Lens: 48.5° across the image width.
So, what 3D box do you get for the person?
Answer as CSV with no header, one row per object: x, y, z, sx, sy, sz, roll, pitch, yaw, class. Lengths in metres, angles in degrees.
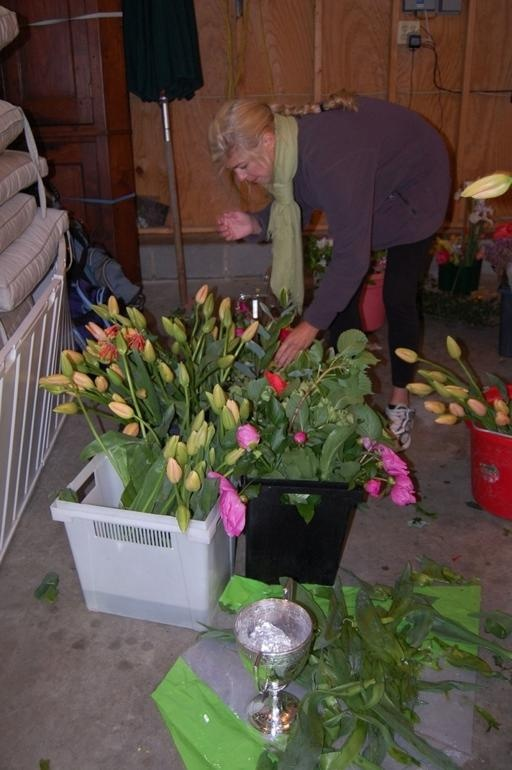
0.186,-0.294,1.589,0.730,1.031,0.494,5,-14,-17,person

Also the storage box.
-0.140,0.272,1.072,0.351,0.268,0.266,6,28,5,storage box

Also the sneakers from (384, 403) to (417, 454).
0.418,0.126,1.653,0.051,0.149,0.063,-4,16,13,sneakers

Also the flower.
0.133,0.050,1.179,1.005,0.533,0.417,1,-8,-13,flower
